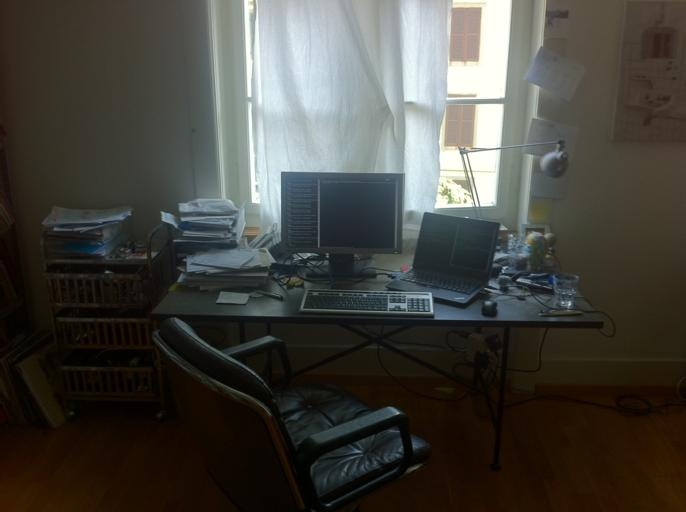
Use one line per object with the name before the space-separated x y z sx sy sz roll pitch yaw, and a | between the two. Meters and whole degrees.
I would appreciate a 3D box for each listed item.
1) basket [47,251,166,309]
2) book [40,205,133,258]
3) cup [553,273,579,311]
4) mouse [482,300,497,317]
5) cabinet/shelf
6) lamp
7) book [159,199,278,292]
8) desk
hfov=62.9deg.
basket | -1.275 0.149 3.036 0.528 0.410 0.298 1 30 -2
book | -1.377 -0.134 3.000 0.335 0.123 0.337 -3 28 -10
cup | 1.061 0.178 2.706 0.136 0.175 0.150 0 6 10
mouse | 0.687 0.244 2.655 0.068 0.070 0.066 14 -17 35
cabinet/shelf | -1.315 0.302 3.278 0.626 1.090 0.640 5 20 7
lamp | 1.005 -0.464 3.273 0.436 0.120 0.500 -1 -29 16
book | -0.657 -0.087 2.996 0.399 0.186 0.543 1 32 -6
desk | 0.217 0.603 3.037 1.916 0.739 0.563 4 5 34
